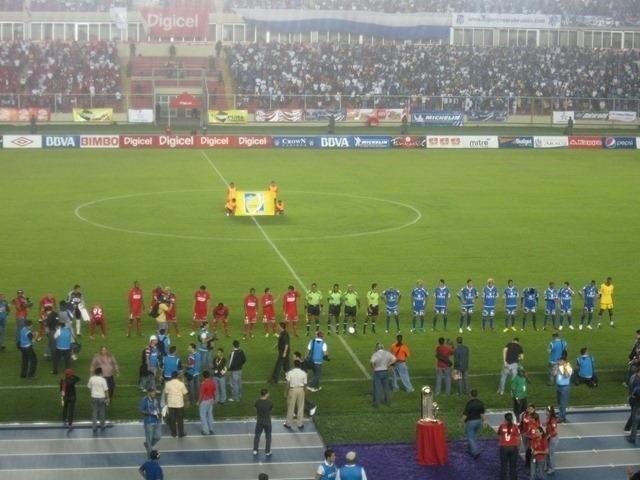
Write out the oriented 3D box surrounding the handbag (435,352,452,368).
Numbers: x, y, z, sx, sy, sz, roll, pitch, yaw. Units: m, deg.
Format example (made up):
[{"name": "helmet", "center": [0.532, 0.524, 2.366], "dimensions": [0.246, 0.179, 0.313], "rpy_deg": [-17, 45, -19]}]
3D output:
[{"name": "handbag", "center": [6.927, 6.801, 85.435], "dimensions": [0.810, 0.313, 0.824], "rpy_deg": [20, 21, 34]}]
